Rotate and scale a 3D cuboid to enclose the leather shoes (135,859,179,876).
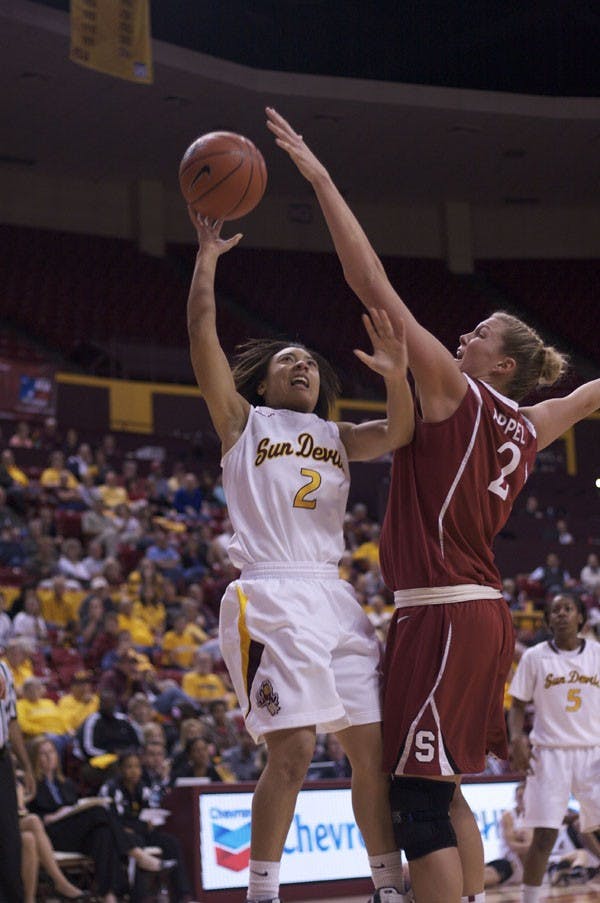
[{"bbox_3d":[-0.709,1.992,5.287,0.214,0.100,0.068,-1,-4,14],"label":"leather shoes"}]
